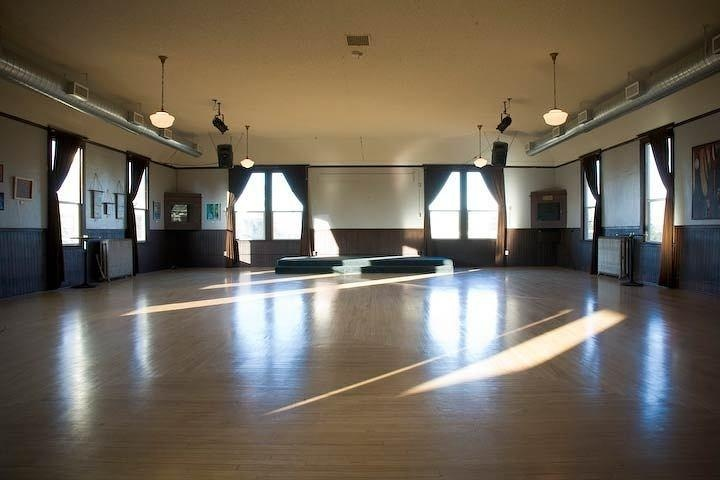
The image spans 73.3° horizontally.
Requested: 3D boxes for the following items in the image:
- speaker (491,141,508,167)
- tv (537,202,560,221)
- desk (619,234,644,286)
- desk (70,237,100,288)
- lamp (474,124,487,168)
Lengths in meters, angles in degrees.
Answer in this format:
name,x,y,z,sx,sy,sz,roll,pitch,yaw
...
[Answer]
name,x,y,z,sx,sy,sz,roll,pitch,yaw
speaker,4.240,-2.618,14.657,0.398,0.684,0.514,1,5,25
tv,6.217,-0.912,15.931,0.715,0.624,0.046,1,4,18
desk,6.572,0.440,11.684,0.437,1.187,1.413,2,5,29
desk,-6.667,0.509,11.664,0.509,1.203,1.269,-3,5,-29
lamp,3.812,-2.867,15.304,0.481,1.138,2.047,1,5,15
